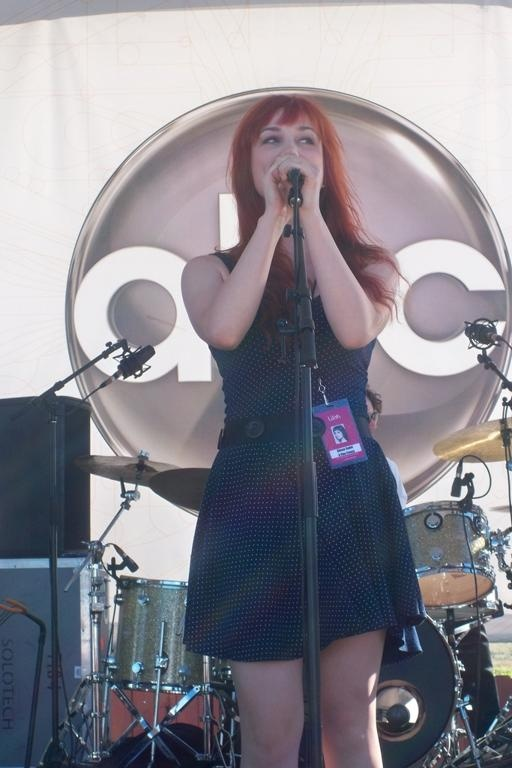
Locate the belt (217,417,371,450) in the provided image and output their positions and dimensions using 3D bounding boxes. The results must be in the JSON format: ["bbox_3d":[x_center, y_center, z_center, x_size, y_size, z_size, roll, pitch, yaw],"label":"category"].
[{"bbox_3d":[0.093,0.113,2.593,0.245,0.098,0.198,1,-4,-42],"label":"belt"}]

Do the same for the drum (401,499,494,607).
[{"bbox_3d":[0.713,0.649,4.295,0.351,0.440,0.357,-2,-5,0],"label":"drum"}]

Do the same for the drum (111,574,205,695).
[{"bbox_3d":[-0.375,0.900,4.448,0.399,0.538,0.401,-3,-5,0],"label":"drum"}]

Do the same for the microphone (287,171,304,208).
[{"bbox_3d":[0.096,-0.457,2.665,0.030,0.078,0.058,-1,0,4],"label":"microphone"}]
